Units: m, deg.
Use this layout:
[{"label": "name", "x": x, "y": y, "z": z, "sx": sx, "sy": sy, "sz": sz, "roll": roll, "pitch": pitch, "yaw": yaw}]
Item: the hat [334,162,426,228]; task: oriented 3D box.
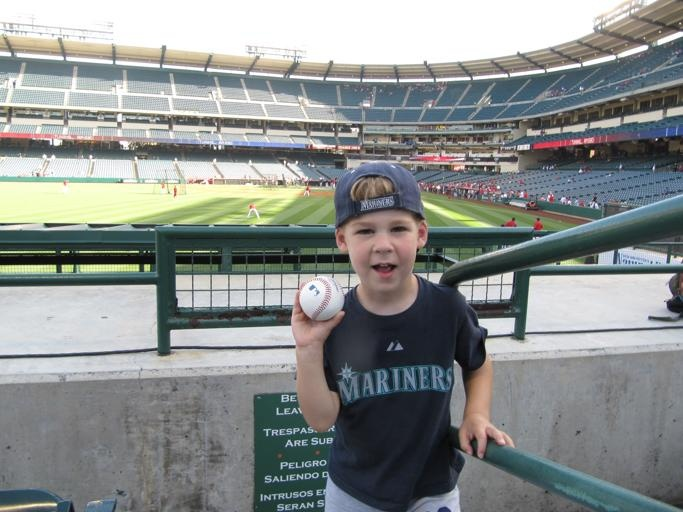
[{"label": "hat", "x": 0.164, "y": -0.302, "z": 2.592, "sx": 0.315, "sy": 0.198, "sz": 0.366, "roll": -3, "pitch": 16, "yaw": 5}]
